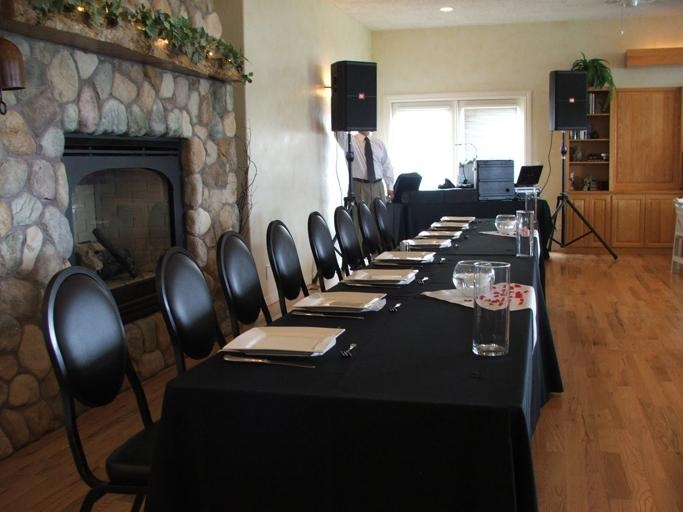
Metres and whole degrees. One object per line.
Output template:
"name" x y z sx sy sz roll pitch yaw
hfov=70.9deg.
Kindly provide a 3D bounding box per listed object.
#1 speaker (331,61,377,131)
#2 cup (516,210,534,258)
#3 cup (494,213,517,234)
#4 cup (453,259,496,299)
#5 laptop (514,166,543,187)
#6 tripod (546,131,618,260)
"speaker" 0.174 -2.141 6.518 0.592 0.941 0.454 -3 10 -20
"cup" 1.111 -0.131 2.876 0.096 0.273 0.101 2 0 0
"cup" 1.268 -0.239 3.711 0.142 0.138 0.164 0 1 2
"cup" 0.490 0.078 1.781 0.141 0.140 0.152 -2 3 0
"laptop" 2.647 -1.097 6.791 0.371 0.307 0.293 -2 17 -9
"tripod" 3.787 -0.978 7.516 0.881 1.973 1.332 4 10 29
